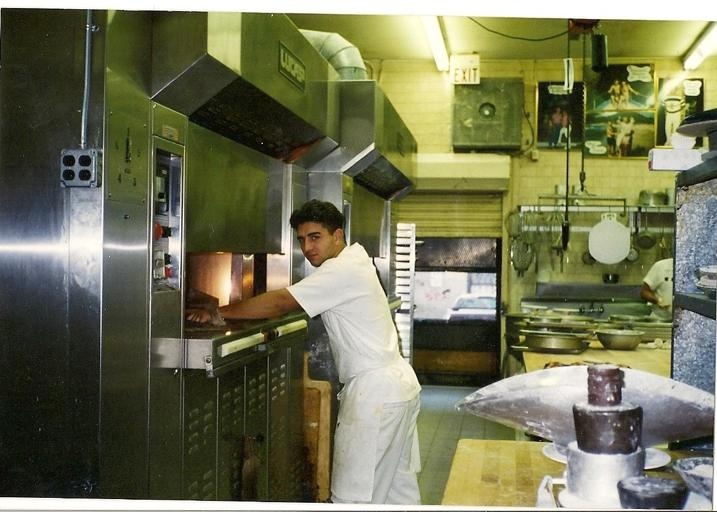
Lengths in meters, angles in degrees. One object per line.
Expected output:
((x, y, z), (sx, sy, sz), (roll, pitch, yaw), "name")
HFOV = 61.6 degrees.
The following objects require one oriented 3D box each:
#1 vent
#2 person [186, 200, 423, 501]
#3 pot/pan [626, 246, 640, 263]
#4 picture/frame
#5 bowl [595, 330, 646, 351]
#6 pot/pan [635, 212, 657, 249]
((0.051, -1.007, 4.446), (0.447, 1.020, 1.456), (-1, -2, 14), "vent")
((-0.135, 0.656, 3.157), (1.000, 1.452, 0.451), (0, -2, -7), "person")
((3.259, -0.005, 7.080), (0.160, 0.152, 0.038), (14, 0, -6), "pot/pan")
((3.129, -1.745, 7.236), (1.911, 1.149, 0.222), (0, -2, 5), "picture/frame")
((2.077, 0.665, 4.743), (0.312, 0.153, 0.253), (1, -2, -37), "bowl")
((3.393, -0.314, 7.033), (0.203, 0.378, 0.388), (-2, -18, 19), "pot/pan")
